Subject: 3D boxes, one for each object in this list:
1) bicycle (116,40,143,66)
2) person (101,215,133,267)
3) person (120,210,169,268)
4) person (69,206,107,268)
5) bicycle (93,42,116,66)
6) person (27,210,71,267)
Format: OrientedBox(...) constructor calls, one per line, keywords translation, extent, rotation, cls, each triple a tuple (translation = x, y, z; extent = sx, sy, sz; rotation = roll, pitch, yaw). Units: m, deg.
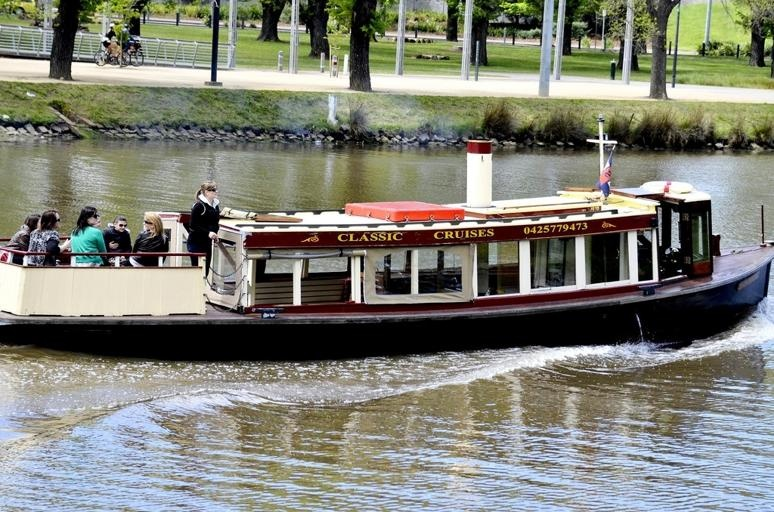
OrientedBox(translation=(-11.264, -9.006, 69.914), extent=(0.905, 1.326, 0.695), rotation=(8, -10, -24), cls="bicycle")
OrientedBox(translation=(-5.997, -0.250, 35.424), extent=(0.716, 1.244, 1.371), rotation=(1, 8, -20), cls="person")
OrientedBox(translation=(-5.260, -0.348, 35.093), extent=(0.969, 1.113, 1.302), rotation=(5, 13, 17), cls="person")
OrientedBox(translation=(-6.576, -0.418, 34.882), extent=(0.775, 1.203, 1.210), rotation=(-1, 12, -11), cls="person")
OrientedBox(translation=(-12.380, -8.821, 69.352), extent=(0.688, 1.007, 1.194), rotation=(-7, 14, -32), cls="bicycle")
OrientedBox(translation=(-7.568, -0.344, 34.832), extent=(0.749, 1.155, 1.052), rotation=(-2, 13, -12), cls="person")
